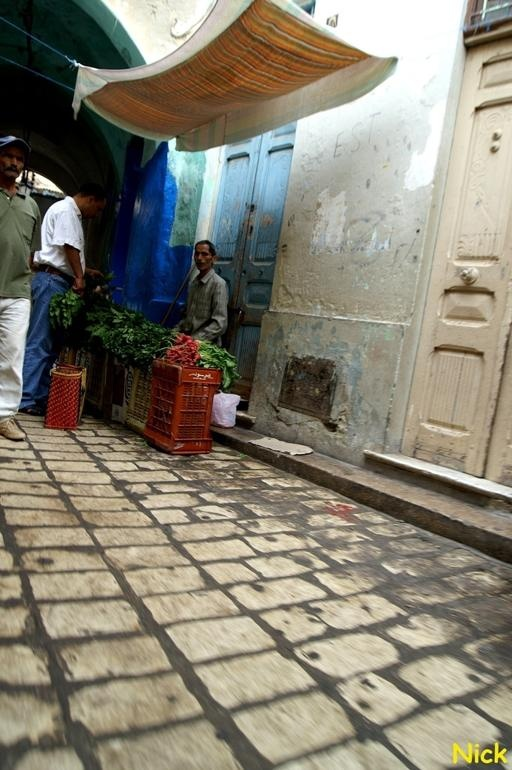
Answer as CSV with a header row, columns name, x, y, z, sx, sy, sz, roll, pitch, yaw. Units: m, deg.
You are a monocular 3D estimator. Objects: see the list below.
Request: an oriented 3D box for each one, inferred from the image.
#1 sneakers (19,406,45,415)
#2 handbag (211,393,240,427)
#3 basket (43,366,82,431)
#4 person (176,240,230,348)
name,x,y,z,sx,sy,sz,roll,pitch,yaw
sneakers,-2.700,0.309,5.268,0.142,0.060,0.134,6,-16,22
handbag,-0.404,0.311,5.456,0.351,0.456,0.269,13,-1,-40
basket,-2.048,0.165,4.856,0.429,0.628,0.421,6,1,12
person,-0.756,-1.301,6.204,0.847,1.419,0.480,10,1,31
